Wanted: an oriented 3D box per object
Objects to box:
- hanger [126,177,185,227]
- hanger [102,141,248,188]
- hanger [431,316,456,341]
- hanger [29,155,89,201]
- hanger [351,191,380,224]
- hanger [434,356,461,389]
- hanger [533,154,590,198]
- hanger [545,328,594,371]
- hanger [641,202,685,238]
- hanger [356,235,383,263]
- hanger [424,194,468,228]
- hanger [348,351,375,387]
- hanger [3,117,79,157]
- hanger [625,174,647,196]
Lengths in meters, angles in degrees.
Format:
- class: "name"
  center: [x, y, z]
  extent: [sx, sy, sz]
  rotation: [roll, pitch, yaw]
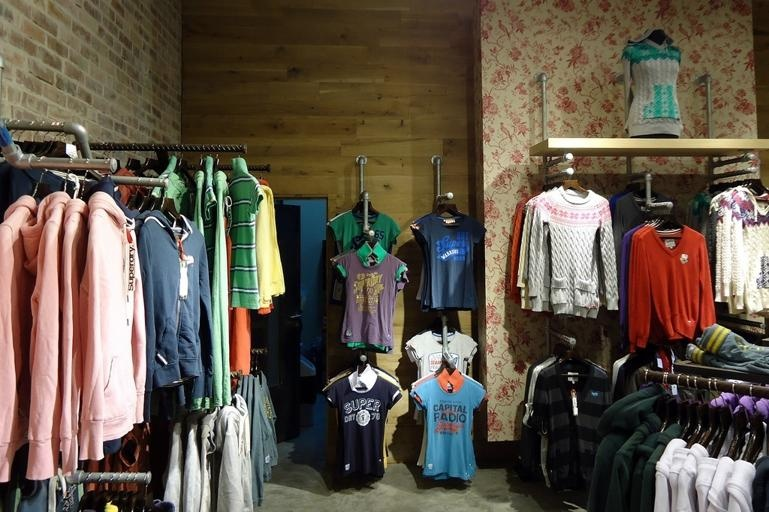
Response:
- class: "hanger"
  center: [-1.484, -0.381, 4.351]
  extent: [0.335, 0.332, 0.836]
  rotation: [-5, 14, -17]
- class: "hanger"
  center: [-1.653, -0.828, 5.398]
  extent: [1.083, 0.231, 1.646]
  rotation: [-4, 14, -12]
- class: "hanger"
  center: [0.489, 0.633, 5.964]
  extent: [0.161, 0.224, 0.065]
  rotation: [2, -19, -2]
- class: "hanger"
  center: [-1.799, -0.421, 3.761]
  extent: [0.248, 0.298, 0.078]
  rotation: [2, 9, -12]
- class: "hanger"
  center: [-0.184, -0.411, 6.034]
  extent: [0.289, 0.214, 0.044]
  rotation: [0, -6, -13]
- class: "hanger"
  center: [0.530, 1.004, 5.779]
  extent: [0.179, 0.273, 0.141]
  rotation: [-13, -32, -5]
- class: "hanger"
  center: [1.453, -0.701, 5.735]
  extent: [0.278, 0.338, 0.537]
  rotation: [-7, 14, -25]
- class: "hanger"
  center: [1.535, 0.740, 5.751]
  extent: [0.283, 0.260, 0.484]
  rotation: [-1, 13, 1]
- class: "hanger"
  center: [2.244, -0.284, 5.592]
  extent: [0.165, 0.238, 0.577]
  rotation: [-1, 4, 7]
- class: "hanger"
  center: [-0.132, -0.046, 5.704]
  extent: [0.159, 0.217, 0.073]
  rotation: [-3, -11, 0]
- class: "hanger"
  center: [0.511, -0.386, 5.992]
  extent: [0.213, 0.302, 0.727]
  rotation: [-1, 7, -2]
- class: "hanger"
  center: [-0.197, 0.956, 5.729]
  extent: [0.189, 0.137, 0.258]
  rotation: [-4, 23, -5]
- class: "hanger"
  center: [-1.847, -0.642, 3.787]
  extent: [0.459, 0.202, 0.132]
  rotation: [-1, 12, 1]
- class: "hanger"
  center: [2.112, -0.608, 5.783]
  extent: [0.152, 0.205, 0.368]
  rotation: [4, 14, 20]
